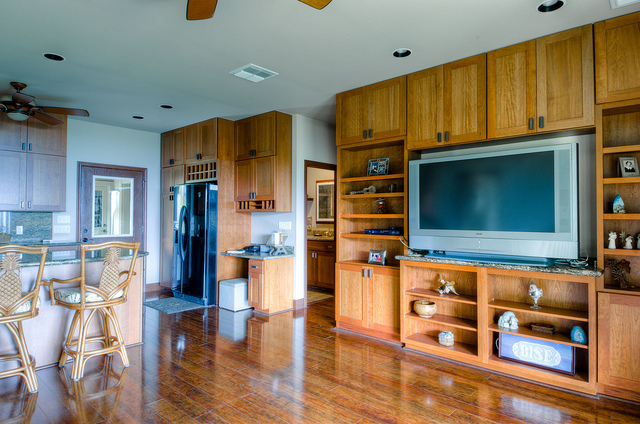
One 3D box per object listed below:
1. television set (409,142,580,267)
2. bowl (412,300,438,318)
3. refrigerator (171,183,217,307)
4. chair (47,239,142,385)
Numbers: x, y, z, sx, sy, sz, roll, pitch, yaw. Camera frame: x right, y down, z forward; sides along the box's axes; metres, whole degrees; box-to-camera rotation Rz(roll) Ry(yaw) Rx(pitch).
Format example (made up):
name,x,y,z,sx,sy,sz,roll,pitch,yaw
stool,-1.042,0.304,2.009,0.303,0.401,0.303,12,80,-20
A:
name,x,y,z,sx,sy,sz,roll,pitch,yaw
television set,2.009,-0.069,4.887,1.615,1.037,0.430,0,-2,38
bowl,1.249,1.151,5.261,0.209,0.118,0.209,4,-1,0
refrigerator,-2.038,0.488,7.169,0.597,1.949,1.131,-12,18,-42
chair,-2.461,0.994,4.837,0.933,1.412,1.021,4,13,17
